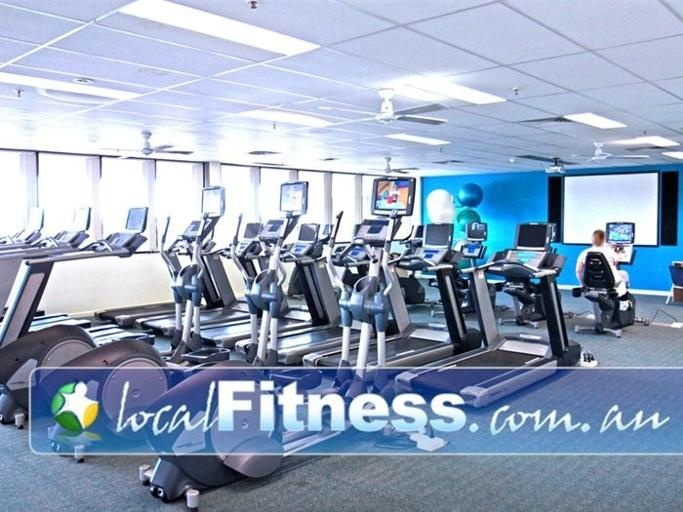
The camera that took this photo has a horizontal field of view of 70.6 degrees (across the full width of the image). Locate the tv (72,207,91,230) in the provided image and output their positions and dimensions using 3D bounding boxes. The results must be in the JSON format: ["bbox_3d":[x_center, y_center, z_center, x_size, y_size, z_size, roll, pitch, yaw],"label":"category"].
[{"bbox_3d":[-3.669,-0.513,6.800,0.474,0.340,0.109,5,-8,36],"label":"tv"}]

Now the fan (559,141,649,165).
[{"bbox_3d":[5.548,-2.050,10.071,1.212,0.258,1.016,-1,5,-1],"label":"fan"}]

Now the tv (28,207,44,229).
[{"bbox_3d":[-5.071,-0.611,8.002,0.225,0.334,0.845,-6,10,-32],"label":"tv"}]

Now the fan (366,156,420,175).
[{"bbox_3d":[1.361,-2.246,12.674,0.810,0.207,0.776,1,3,32],"label":"fan"}]

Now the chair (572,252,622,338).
[{"bbox_3d":[3.770,0.546,7.155,0.815,1.088,0.706,7,8,36],"label":"chair"}]

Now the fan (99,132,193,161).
[{"bbox_3d":[-3.154,-1.774,7.991,1.135,0.282,1.087,1,5,33],"label":"fan"}]

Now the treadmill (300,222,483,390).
[{"bbox_3d":[0.591,0.473,5.564,1.384,1.499,2.150,2,5,41],"label":"treadmill"}]
